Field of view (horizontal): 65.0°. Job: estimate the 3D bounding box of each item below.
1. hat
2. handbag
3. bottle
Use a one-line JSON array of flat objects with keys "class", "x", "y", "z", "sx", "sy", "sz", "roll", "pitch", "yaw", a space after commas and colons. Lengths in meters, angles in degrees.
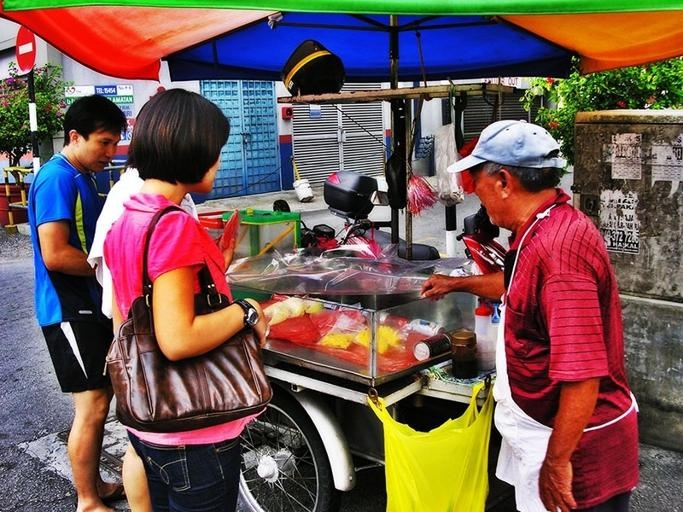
[{"class": "hat", "x": 0.635, "y": -0.419, "z": 2.066, "sx": 0.445, "sy": 0.209, "sz": 0.286, "roll": 7, "pitch": 14, "yaw": 23}, {"class": "handbag", "x": -0.590, "y": 0.253, "z": 1.950, "sx": 0.622, "sy": 0.841, "sz": 0.367, "roll": 7, "pitch": -23, "yaw": -45}, {"class": "bottle", "x": 0.564, "y": 0.410, "z": 2.668, "sx": 0.445, "sy": 0.435, "sz": 0.241, "roll": -6, "pitch": 4, "yaw": -34}]
